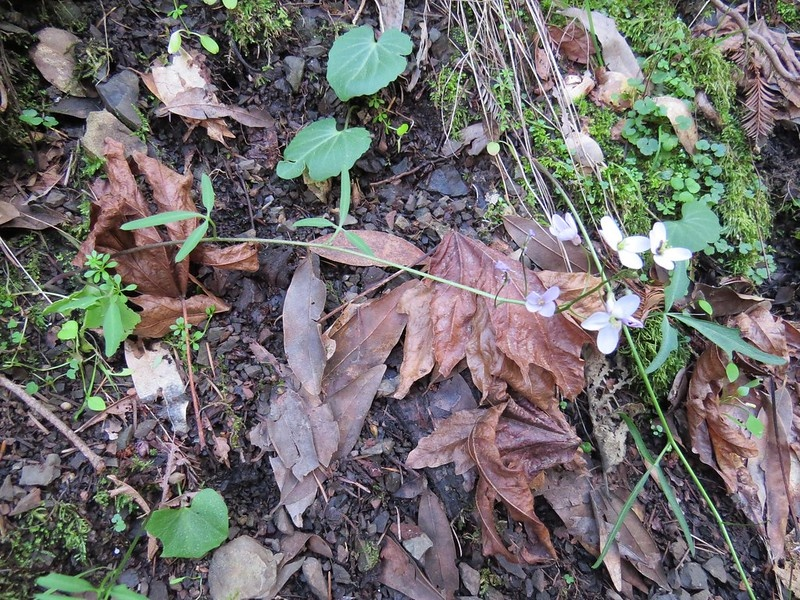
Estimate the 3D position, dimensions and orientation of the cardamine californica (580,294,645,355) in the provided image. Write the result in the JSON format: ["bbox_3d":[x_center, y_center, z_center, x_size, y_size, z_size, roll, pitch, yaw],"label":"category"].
[{"bbox_3d":[0.898,0.111,2.588,0.239,0.092,0.277,-10,65,-1],"label":"cardamine californica"}]

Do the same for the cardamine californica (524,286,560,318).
[{"bbox_3d":[0.627,0.014,2.652,0.143,0.057,0.148,-18,68,32],"label":"cardamine californica"}]
